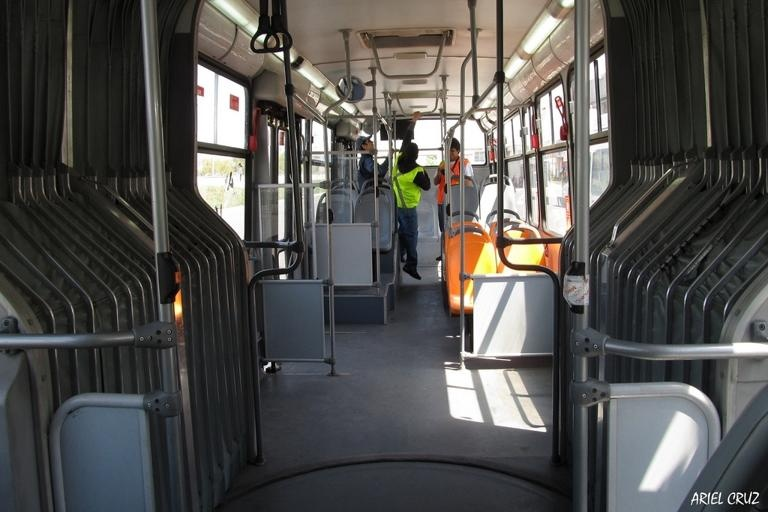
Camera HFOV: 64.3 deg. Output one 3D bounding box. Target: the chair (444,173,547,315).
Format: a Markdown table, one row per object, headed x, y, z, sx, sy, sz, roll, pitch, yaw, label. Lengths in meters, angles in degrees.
| x | y | z | sx | sy | sz | roll | pitch | yaw | label |
| --- | --- | --- | --- | --- | --- | --- | --- | --- | --- |
| 1.294 | -0.172 | 7.555 | 1.006 | 1.315 | 1.795 | -1 | -1 | 0 | chair |

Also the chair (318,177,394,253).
| x | y | z | sx | sy | sz | roll | pitch | yaw | label |
| --- | --- | --- | --- | --- | --- | --- | --- | --- | --- |
| -0.274 | -0.570 | 9.370 | 1.011 | 1.030 | 1.181 | -4 | 11 | -16 | chair |
